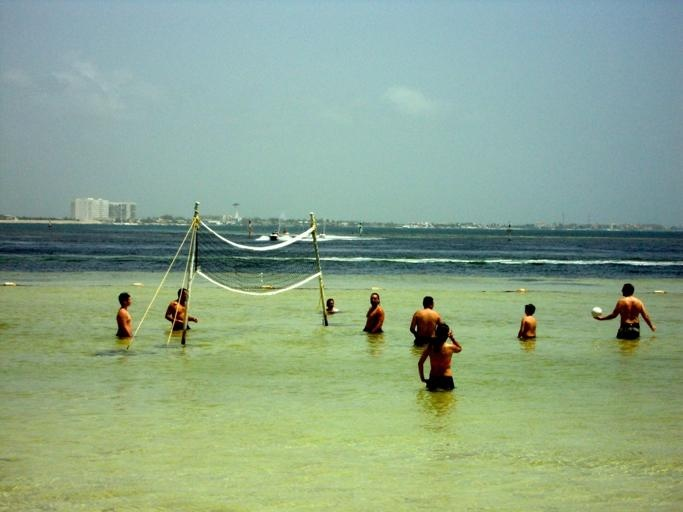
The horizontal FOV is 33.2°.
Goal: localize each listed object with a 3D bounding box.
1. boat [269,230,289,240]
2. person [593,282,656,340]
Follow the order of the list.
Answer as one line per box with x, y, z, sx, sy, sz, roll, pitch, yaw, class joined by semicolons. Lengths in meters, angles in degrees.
-7.074;-2.207;127.219;1.893;1.147;5.026;2;1;2;boat
6.943;1.333;27.745;0.983;1.433;1.112;-4;8;-35;person
